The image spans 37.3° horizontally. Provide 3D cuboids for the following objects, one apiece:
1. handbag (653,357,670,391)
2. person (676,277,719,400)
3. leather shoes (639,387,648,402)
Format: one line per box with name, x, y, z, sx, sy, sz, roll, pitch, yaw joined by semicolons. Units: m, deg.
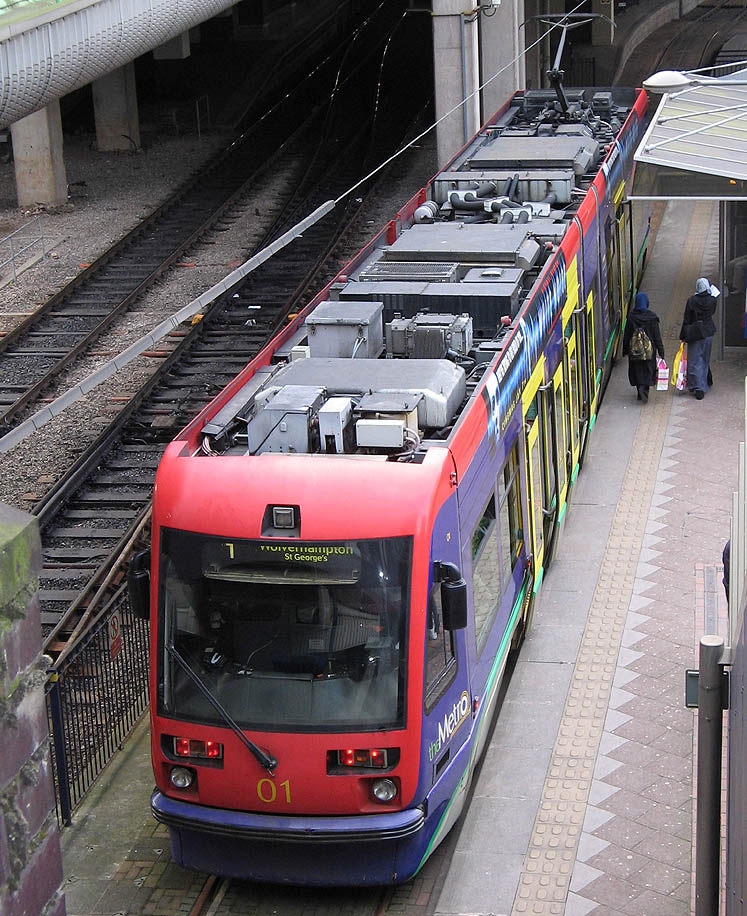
handbag;4.064;-1.207;15.631;0.182;0.506;0.362;3;21;12
person;4.586;-1.756;15.608;0.467;1.744;1.553;5;19;16
leather shoes;3.811;-0.922;15.588;0.083;0.217;0.094;-3;15;4
